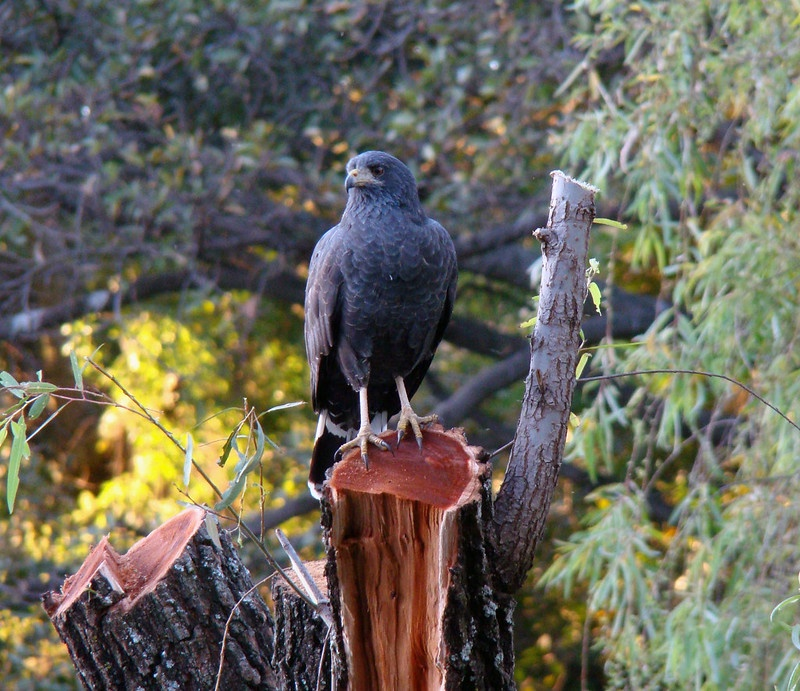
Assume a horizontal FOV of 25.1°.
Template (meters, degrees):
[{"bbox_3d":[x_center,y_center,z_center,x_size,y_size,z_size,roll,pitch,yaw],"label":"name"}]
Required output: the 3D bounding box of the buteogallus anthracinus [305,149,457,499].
[{"bbox_3d":[-0.114,-0.092,9.513,0.807,1.688,1.276,4,12,-2],"label":"buteogallus anthracinus"}]
